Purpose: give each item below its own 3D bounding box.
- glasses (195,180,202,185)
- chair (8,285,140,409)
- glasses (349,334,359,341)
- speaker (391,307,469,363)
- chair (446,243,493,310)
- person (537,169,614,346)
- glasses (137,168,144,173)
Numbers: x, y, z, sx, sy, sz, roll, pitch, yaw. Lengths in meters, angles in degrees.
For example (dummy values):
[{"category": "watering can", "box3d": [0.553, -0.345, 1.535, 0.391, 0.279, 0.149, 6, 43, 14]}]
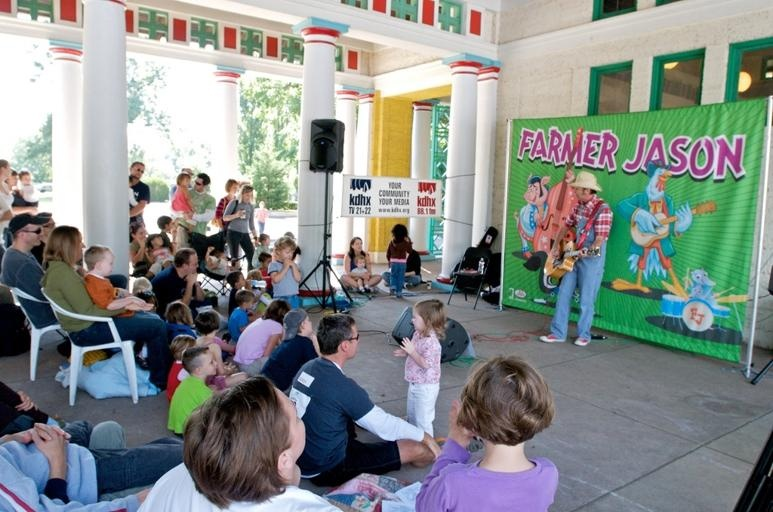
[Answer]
[{"category": "glasses", "box3d": [-3.469, -1.359, 9.785, 0.069, 0.091, 0.084, 7, -19, 38]}, {"category": "chair", "box3d": [-3.223, 0.938, 5.582, 1.012, 1.460, 0.979, 0, 5, -27]}, {"category": "glasses", "box3d": [-0.253, 0.644, 4.142, 0.073, 0.019, 0.070, -8, 1, 2]}, {"category": "speaker", "box3d": [0.601, 0.977, 6.566, 0.778, 0.608, 0.864, 12, -4, -35]}, {"category": "chair", "box3d": [1.536, 0.346, 9.810, 0.678, 0.970, 0.987, 5, 14, 11]}, {"category": "person", "box3d": [2.709, 0.038, 7.423, 0.797, 2.457, 0.979, -1, 5, -42]}, {"category": "glasses", "box3d": [-4.385, -1.525, 9.423, 0.079, 0.066, 0.087, -4, 17, -27]}]
